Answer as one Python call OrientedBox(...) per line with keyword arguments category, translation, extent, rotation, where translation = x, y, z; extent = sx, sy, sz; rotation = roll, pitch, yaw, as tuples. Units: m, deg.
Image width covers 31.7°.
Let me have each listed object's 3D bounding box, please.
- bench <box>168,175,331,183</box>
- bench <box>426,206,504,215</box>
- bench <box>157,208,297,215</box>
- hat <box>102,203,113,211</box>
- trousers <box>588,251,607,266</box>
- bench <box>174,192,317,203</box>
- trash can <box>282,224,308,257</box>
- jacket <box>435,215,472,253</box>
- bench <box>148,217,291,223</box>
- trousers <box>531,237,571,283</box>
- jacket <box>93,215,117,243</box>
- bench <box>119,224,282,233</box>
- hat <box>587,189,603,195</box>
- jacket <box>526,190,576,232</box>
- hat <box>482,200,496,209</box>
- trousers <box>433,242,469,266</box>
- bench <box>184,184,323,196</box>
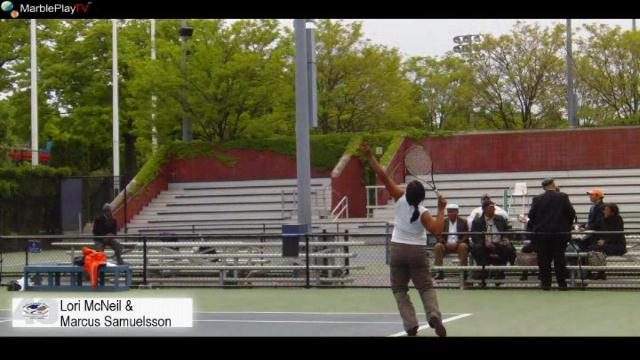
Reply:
OrientedBox(category="bench", translation=(-6.060, -0.046, 74.518), extent=(8.062, 0.379, 0.684), rotation=(-2, -7, 10))
OrientedBox(category="bench", translation=(8.561, 1.854, 68.186), extent=(2.644, 0.521, 0.939), rotation=(1, 10, 10))
OrientedBox(category="bench", translation=(-6.266, 2.005, 70.734), extent=(7.834, 0.325, 0.358), rotation=(-2, -7, 12))
OrientedBox(category="hat", translation=(-11.856, 1.498, 62.850), extent=(0.562, 0.475, 0.406), rotation=(-29, -13, 21))
OrientedBox(category="trousers", translation=(13.458, 3.839, 54.702), extent=(0.871, 0.489, 0.784), rotation=(0, -4, 15))
OrientedBox(category="bench", translation=(-5.317, 1.141, 71.026), extent=(7.108, 0.709, 0.496), rotation=(-1, -5, 8))
OrientedBox(category="trash can", translation=(-1.273, 3.000, 55.734), extent=(1.259, 1.638, 0.552), rotation=(1, -8, -20))
OrientedBox(category="jacket", translation=(6.597, 2.623, 55.321), extent=(1.493, 1.503, 1.043), rotation=(2, 11, -26))
OrientedBox(category="bench", translation=(-6.927, 2.544, 70.400), extent=(7.985, 0.303, 0.212), rotation=(-3, -8, 12))
OrientedBox(category="trousers", translation=(11.132, 3.870, 54.300), extent=(1.615, 2.142, 0.544), rotation=(-3, -8, 8))
OrientedBox(category="jacket", translation=(-10.891, 2.523, 57.077), extent=(1.879, 1.504, 0.966), rotation=(0, 0, -7))
OrientedBox(category="bench", translation=(-7.538, 2.984, 69.722), extent=(10.279, 0.460, 1.741), rotation=(-3, -7, 12))
OrientedBox(category="hat", translation=(13.524, 0.587, 55.104), extent=(0.710, 0.188, 0.382), rotation=(2, -1, -1))
OrientedBox(category="jacket", translation=(11.295, 1.463, 54.873), extent=(2.538, 2.081, 1.419), rotation=(-4, -2, 20))
OrientedBox(category="hat", translation=(8.214, 1.194, 55.254), extent=(0.497, 0.459, 0.427), rotation=(3, -9, -32))
OrientedBox(category="trousers", translation=(6.378, 3.502, 54.871), extent=(1.780, 0.896, 1.269), rotation=(-2, -13, 17))
OrientedBox(category="bench", translation=(-5.035, 0.436, 71.855), extent=(7.286, 0.769, 0.482), rotation=(0, -7, 7))
